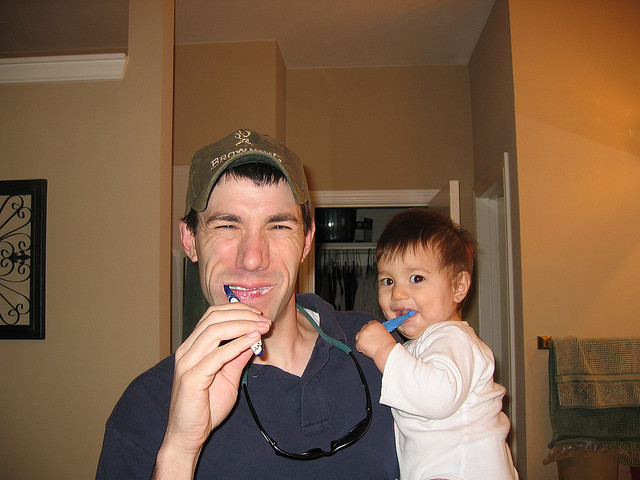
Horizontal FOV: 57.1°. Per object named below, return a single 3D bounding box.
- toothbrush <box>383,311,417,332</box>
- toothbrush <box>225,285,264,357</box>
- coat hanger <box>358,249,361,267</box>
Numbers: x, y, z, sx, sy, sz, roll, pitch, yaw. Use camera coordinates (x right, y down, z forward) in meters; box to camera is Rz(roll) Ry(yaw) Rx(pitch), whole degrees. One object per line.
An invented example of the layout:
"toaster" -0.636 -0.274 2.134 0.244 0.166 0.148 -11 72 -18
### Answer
"toothbrush" 0.341 0.349 2.554 0.055 0.023 0.192 21 27 26
"toothbrush" -0.280 0.296 2.157 0.053 0.261 0.067 -22 10 30
"coat hanger" 0.395 0.174 5.864 0.023 0.151 0.074 -1 -6 18
